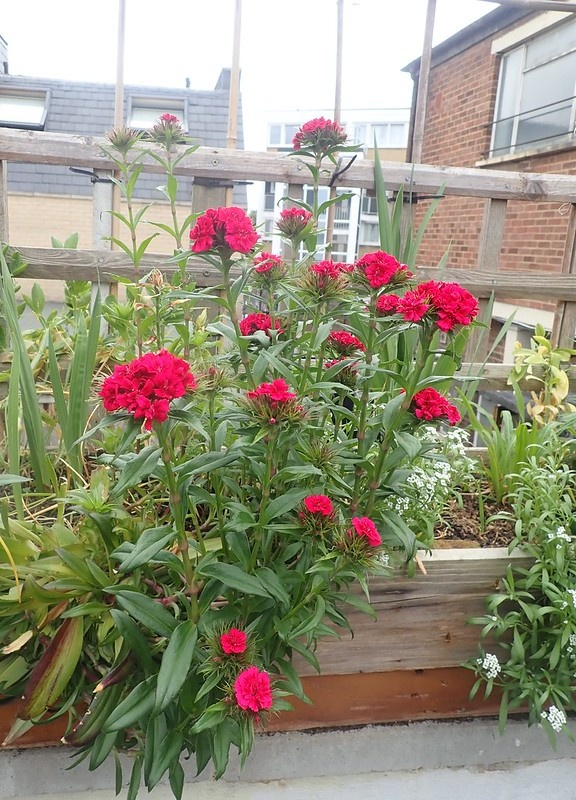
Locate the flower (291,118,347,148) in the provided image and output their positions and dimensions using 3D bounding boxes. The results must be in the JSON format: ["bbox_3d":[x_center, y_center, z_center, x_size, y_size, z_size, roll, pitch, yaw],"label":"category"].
[{"bbox_3d":[0.057,-0.496,1.133,0.096,0.053,0.072,11,18,21],"label":"flower"}]

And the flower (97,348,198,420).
[{"bbox_3d":[-0.166,-0.016,0.705,0.097,0.086,0.078,-12,51,-25],"label":"flower"}]

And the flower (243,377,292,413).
[{"bbox_3d":[-0.032,-0.006,0.754,0.049,0.040,0.046,8,35,-1],"label":"flower"}]

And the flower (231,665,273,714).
[{"bbox_3d":[-0.045,0.351,0.729,0.043,0.031,0.045,2,17,-9],"label":"flower"}]

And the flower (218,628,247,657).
[{"bbox_3d":[-0.080,0.312,0.787,0.034,0.015,0.033,11,40,0],"label":"flower"}]

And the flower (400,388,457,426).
[{"bbox_3d":[0.227,0.015,0.922,0.061,0.035,0.059,21,6,3],"label":"flower"}]

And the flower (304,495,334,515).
[{"bbox_3d":[0.043,0.146,0.833,0.031,0.017,0.032,23,27,30],"label":"flower"}]

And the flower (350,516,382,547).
[{"bbox_3d":[0.105,0.177,0.843,0.024,0.041,0.040,-39,23,-1],"label":"flower"}]
